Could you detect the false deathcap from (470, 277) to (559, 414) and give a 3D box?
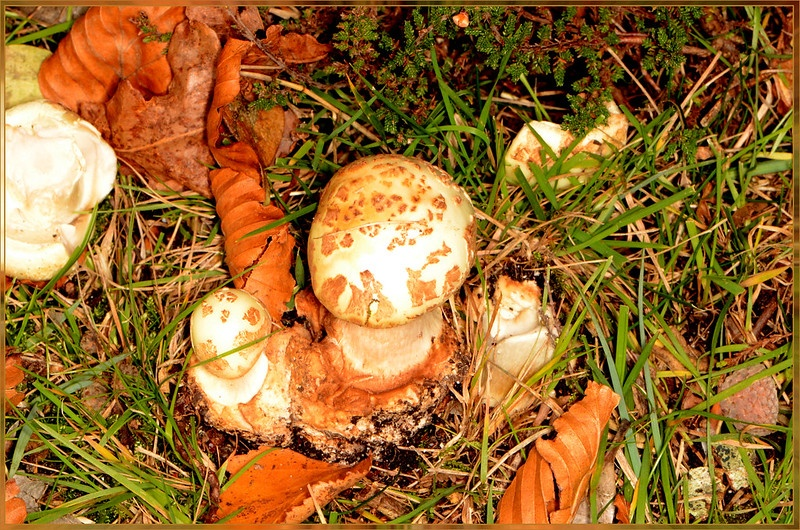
[{"bbox_3d":[0.676,0.490,4.144,0.522,0.215,0.733,13,87,20],"label":"false deathcap"}]
